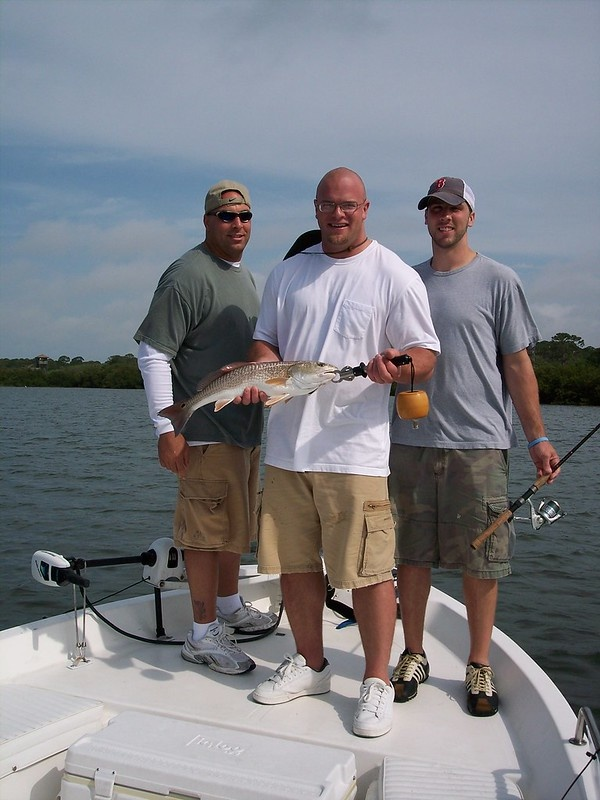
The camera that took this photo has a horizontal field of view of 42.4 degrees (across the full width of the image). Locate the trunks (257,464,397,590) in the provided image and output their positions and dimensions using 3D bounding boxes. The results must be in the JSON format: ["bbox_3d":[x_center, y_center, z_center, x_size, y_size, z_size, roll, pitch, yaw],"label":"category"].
[{"bbox_3d":[0.107,0.502,3.089,0.534,0.442,0.287,-4,-17,27],"label":"trunks"}]

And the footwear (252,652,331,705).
[{"bbox_3d":[-0.013,1.131,3.164,0.409,0.163,0.129,4,-3,-29],"label":"footwear"}]

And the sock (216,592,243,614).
[{"bbox_3d":[-0.361,1.035,3.987,0.135,0.110,0.075,-7,11,-16],"label":"sock"}]

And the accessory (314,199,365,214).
[{"bbox_3d":[0.163,-0.762,3.056,0.189,0.074,0.071,2,-6,2],"label":"accessory"}]

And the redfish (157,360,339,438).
[{"bbox_3d":[-0.217,-0.008,3.111,0.817,0.268,0.134,-2,-8,35],"label":"redfish"}]

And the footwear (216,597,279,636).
[{"bbox_3d":[-0.326,1.122,4.002,0.388,0.158,0.131,5,7,-14],"label":"footwear"}]
